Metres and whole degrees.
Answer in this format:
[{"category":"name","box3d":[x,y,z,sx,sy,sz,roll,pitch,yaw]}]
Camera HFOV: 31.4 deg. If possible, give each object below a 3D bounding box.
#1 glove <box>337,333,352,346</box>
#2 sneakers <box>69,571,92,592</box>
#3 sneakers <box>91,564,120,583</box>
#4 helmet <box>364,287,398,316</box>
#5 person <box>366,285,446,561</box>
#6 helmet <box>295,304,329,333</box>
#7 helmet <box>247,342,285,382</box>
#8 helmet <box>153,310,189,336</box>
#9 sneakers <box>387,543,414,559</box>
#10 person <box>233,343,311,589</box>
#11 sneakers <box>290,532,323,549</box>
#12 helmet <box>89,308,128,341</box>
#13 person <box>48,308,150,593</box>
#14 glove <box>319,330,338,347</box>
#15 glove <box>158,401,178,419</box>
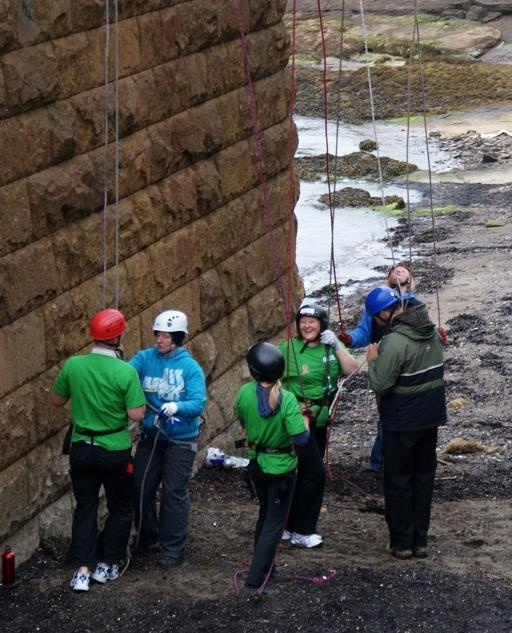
[{"category":"glove","box3d":[0.662,0.191,6.836,0.095,0.056,0.050,-5,47,-46]},{"category":"sneakers","box3d":[-0.973,1.492,5.067,0.065,0.066,0.151,2,0,-10]},{"category":"sneakers","box3d":[-0.849,1.476,5.234,0.068,0.073,0.168,24,18,25]},{"category":"helmet","box3d":[0.804,-0.093,6.036,0.182,0.131,0.213,-32,22,-29]},{"category":"person","box3d":[0.926,0.721,5.613,0.488,1.538,0.290,-2,8,-7]},{"category":"helmet","box3d":[0.361,0.028,5.829,0.178,0.170,0.197,-2,4,25]},{"category":"helmet","box3d":[0.025,0.273,5.014,0.186,0.218,0.186,-15,-12,-10]},{"category":"helmet","box3d":[-0.494,0.049,5.326,0.176,0.123,0.127,12,-3,0]},{"category":"sneakers","box3d":[0.887,1.468,5.641,0.055,0.061,0.145,0,12,-27]},{"category":"person","box3d":[0.091,0.849,5.085,0.380,1.393,0.336,-1,8,-1]},{"category":"sneakers","box3d":[0.315,1.451,5.861,0.152,0.057,0.097,0,-5,3]},{"category":"helmet","box3d":[-0.811,0.058,5.016,0.176,0.169,0.175,-1,7,-3]},{"category":"person","box3d":[-0.869,0.761,5.089,0.489,1.580,0.321,-2,8,-12]},{"category":"glove","box3d":[0.470,0.143,5.837,0.043,0.080,0.110,-25,9,-22]},{"category":"glove","box3d":[-0.505,0.553,5.256,0.087,0.038,0.110,2,-24,-6]}]
